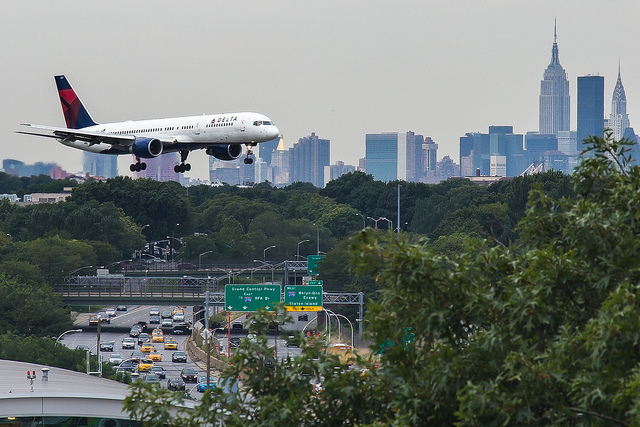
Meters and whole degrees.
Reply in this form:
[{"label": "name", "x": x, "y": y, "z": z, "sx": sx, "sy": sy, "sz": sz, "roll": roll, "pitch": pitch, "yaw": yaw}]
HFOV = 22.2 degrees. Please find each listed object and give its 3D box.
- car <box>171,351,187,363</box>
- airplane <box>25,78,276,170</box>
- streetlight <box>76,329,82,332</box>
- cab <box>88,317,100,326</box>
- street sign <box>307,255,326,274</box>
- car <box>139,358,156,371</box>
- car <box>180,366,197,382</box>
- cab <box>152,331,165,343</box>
[{"label": "car", "x": -18.022, "y": 18.207, "z": 206.632, "sx": 1.857, "sy": 1.280, "sz": 2.514, "roll": 1, "pitch": -6, "yaw": -9}, {"label": "airplane", "x": -21.559, "y": -9.236, "z": 205.241, "sx": 22.862, "sy": 7.849, "sz": 24.171, "roll": -3, "pitch": 1, "yaw": -43}, {"label": "streetlight", "x": -33.234, "y": 16.095, "z": 223.263, "sx": 0.725, "sy": 0.383, "sz": 1.596, "roll": 0, "pitch": -6, "yaw": -1}, {"label": "cab", "x": -31.956, "y": 15.144, "z": 227.582, "sx": 1.093, "sy": 1.164, "sz": 2.086, "roll": 1, "pitch": -6, "yaw": -11}, {"label": "street sign", "x": -0.921, "y": 6.750, "z": 212.877, "sx": 1.401, "sy": 2.268, "sz": 2.432, "roll": -1, "pitch": -6, "yaw": 6}, {"label": "car", "x": -21.605, "y": 18.653, "z": 200.427, "sx": 1.619, "sy": 1.388, "sz": 2.314, "roll": 0, "pitch": -6, "yaw": -6}, {"label": "car", "x": -15.999, "y": 19.589, "z": 196.744, "sx": 1.822, "sy": 1.504, "sz": 2.526, "roll": 0, "pitch": -6, "yaw": -5}, {"label": "cab", "x": -21.874, "y": 16.689, "z": 218.251, "sx": 1.505, "sy": 1.291, "sz": 1.990, "roll": 0, "pitch": -6, "yaw": -5}]
